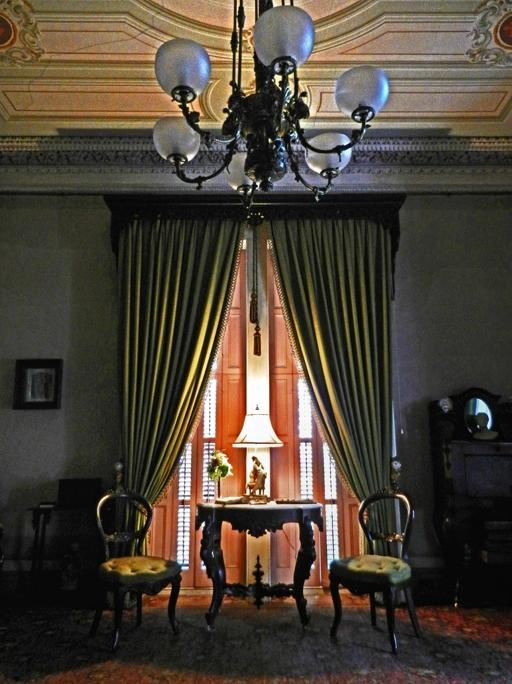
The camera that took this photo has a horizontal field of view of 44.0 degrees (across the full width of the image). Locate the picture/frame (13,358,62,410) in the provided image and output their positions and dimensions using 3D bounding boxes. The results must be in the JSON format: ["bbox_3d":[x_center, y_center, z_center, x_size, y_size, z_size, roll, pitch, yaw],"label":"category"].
[{"bbox_3d":[-1.619,0.328,4.681,0.350,0.379,0.035,-1,-11,0],"label":"picture/frame"}]

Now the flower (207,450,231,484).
[{"bbox_3d":[-0.252,0.852,4.256,0.198,0.217,0.105,-5,-50,-17],"label":"flower"}]

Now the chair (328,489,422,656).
[{"bbox_3d":[0.753,1.423,3.869,0.498,0.875,0.458,-21,-56,33],"label":"chair"}]

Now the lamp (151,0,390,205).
[{"bbox_3d":[0.080,-1.245,3.246,0.952,1.286,0.914,-4,-15,18],"label":"lamp"}]

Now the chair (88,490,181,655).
[{"bbox_3d":[-0.767,1.414,3.857,0.493,0.846,0.497,19,-41,-37],"label":"chair"}]

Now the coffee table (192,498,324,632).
[{"bbox_3d":[0.011,1.346,3.997,0.796,0.705,0.596,1,-8,-4],"label":"coffee table"}]
